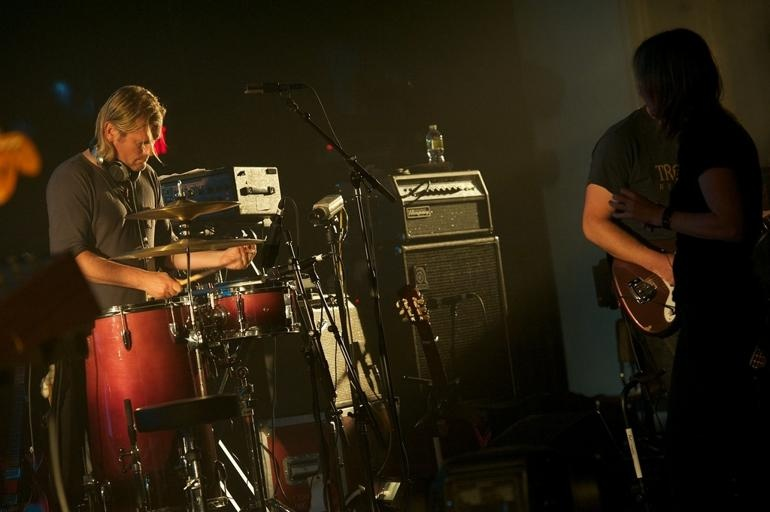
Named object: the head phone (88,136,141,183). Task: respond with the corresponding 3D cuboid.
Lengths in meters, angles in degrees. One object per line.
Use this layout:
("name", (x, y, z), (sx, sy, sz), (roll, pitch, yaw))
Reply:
("head phone", (-1.925, -0.640, 4.977), (0.338, 0.119, 0.292), (30, 0, 21))

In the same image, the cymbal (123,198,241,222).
("cymbal", (-1.245, -0.284, 4.465), (0.330, 0.067, 0.324), (-10, -7, 13))

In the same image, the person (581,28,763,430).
("person", (1.436, -0.131, 3.254), (0.641, 1.816, 0.234), (-11, -5, 16))

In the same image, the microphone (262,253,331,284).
("microphone", (-0.613, 0.090, 4.802), (0.455, 0.143, 0.126), (-19, 0, 42))

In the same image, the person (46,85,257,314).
("person", (-1.759, -0.335, 5.112), (1.126, 1.565, 1.271), (16, 17, 22))

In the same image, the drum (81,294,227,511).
("drum", (-1.465, 0.970, 4.337), (0.776, 1.334, 0.384), (-8, -5, -14))

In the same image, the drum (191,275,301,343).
("drum", (-0.878, 0.360, 4.557), (0.509, 0.247, 0.492), (-11, -8, -1))
